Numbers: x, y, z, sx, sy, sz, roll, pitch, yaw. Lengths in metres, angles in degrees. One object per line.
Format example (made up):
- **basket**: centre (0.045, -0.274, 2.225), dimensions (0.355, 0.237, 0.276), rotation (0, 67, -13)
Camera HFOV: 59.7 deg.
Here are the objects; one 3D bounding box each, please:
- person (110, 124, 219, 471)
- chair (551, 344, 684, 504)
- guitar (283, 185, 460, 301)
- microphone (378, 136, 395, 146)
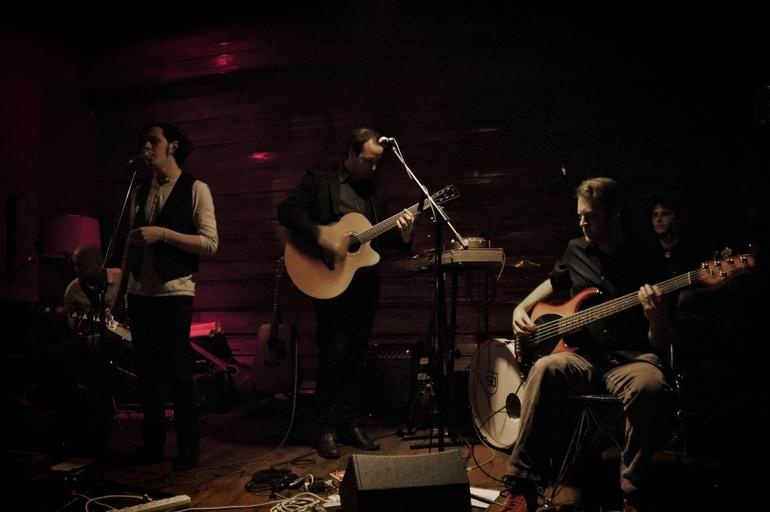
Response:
- **person**: centre (-1.647, 0.283, 5.121), dimensions (0.762, 2.549, 0.749), rotation (6, 15, 27)
- **chair**: centre (1.702, 1.177, 4.509), dimensions (0.386, 0.959, 0.401), rotation (-2, 13, -6)
- **guitar**: centre (-0.199, -0.072, 5.232), dimensions (1.636, 0.637, 0.217), rotation (-26, -2, -12)
- **microphone**: centre (-0.004, -0.833, 4.924), dimensions (0.071, 0.062, 0.217), rotation (-27, 11, -13)
